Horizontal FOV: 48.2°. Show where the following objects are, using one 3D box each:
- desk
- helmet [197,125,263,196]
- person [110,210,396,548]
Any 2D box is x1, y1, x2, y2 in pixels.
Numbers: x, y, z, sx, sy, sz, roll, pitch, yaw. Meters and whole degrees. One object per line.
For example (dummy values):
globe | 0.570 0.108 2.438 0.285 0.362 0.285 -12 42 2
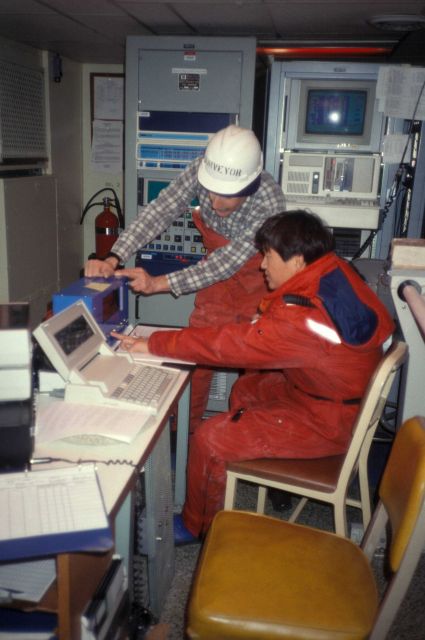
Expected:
desk | -0.268 0.439 1.160 0.269 0.386 0.619 5 18 10
helmet | 0.089 -0.651 2.096 0.236 0.321 0.186 19 -18 12
person | 0.104 -0.044 2.229 1.231 1.696 0.764 12 18 15
